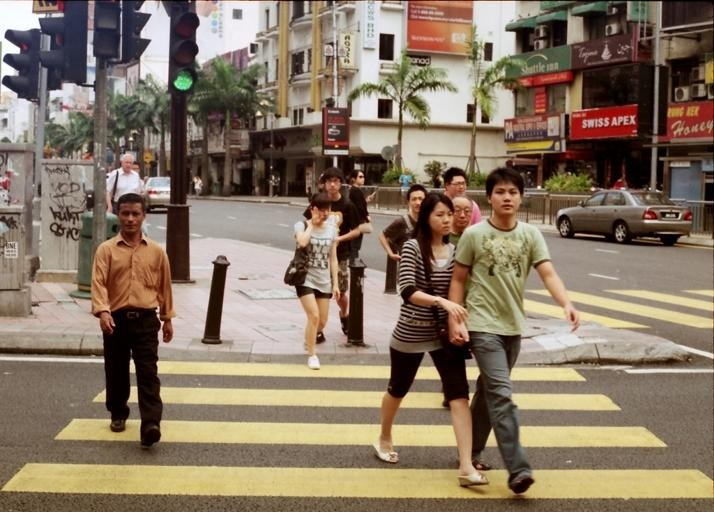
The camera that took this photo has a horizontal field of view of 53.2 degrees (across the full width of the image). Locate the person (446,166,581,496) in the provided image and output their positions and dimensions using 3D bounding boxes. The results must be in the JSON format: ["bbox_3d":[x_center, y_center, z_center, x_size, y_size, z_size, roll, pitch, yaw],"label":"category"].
[{"bbox_3d":[1.167,0.542,5.556,0.822,2.423,0.731,7,9,37],"label":"person"}]

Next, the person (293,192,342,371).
[{"bbox_3d":[-0.518,0.283,8.683,0.450,2.063,0.678,3,7,10],"label":"person"}]

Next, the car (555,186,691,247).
[{"bbox_3d":[8.851,-1.365,23.989,1.689,1.412,3.837,-1,7,-23],"label":"car"}]

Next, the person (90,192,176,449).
[{"bbox_3d":[-1.971,0.691,6.241,0.684,1.844,0.811,0,7,-13],"label":"person"}]

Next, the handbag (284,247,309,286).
[{"bbox_3d":[-0.727,0.140,8.619,0.296,0.537,0.416,1,7,-5],"label":"handbag"}]

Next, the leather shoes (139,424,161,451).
[{"bbox_3d":[-1.772,1.533,6.094,0.163,0.213,0.236,-1,8,-19],"label":"leather shoes"}]

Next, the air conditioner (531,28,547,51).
[{"bbox_3d":[11.540,-13.632,44.699,0.375,1.471,0.985,-2,8,-28],"label":"air conditioner"}]

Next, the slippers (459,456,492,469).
[{"bbox_3d":[0.966,1.679,5.715,0.221,0.065,0.090,-1,2,21],"label":"slippers"}]

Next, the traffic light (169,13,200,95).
[{"bbox_3d":[-2.746,-3.286,11.288,0.463,1.361,1.112,0,8,-14],"label":"traffic light"}]

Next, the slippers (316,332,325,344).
[{"bbox_3d":[-0.495,1.132,9.755,0.077,0.096,0.215,0,-8,6],"label":"slippers"}]

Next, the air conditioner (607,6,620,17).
[{"bbox_3d":[14.352,-13.709,39.767,0.788,0.604,0.450,8,47,19],"label":"air conditioner"}]

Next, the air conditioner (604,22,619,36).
[{"bbox_3d":[14.207,-12.550,39.484,0.318,0.771,0.832,-4,9,-37],"label":"air conditioner"}]

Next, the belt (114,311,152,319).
[{"bbox_3d":[-1.988,0.523,6.345,0.335,0.085,0.074,-2,8,-24],"label":"belt"}]

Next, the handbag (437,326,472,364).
[{"bbox_3d":[0.752,0.694,5.561,0.254,0.239,0.205,2,17,1],"label":"handbag"}]

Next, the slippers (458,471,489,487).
[{"bbox_3d":[0.892,1.701,5.428,0.190,0.082,0.109,-4,3,5],"label":"slippers"}]

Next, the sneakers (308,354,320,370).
[{"bbox_3d":[-0.518,1.275,8.537,0.135,0.143,0.173,1,7,-4],"label":"sneakers"}]

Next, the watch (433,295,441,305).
[{"bbox_3d":[0.614,0.350,5.434,0.039,0.057,0.055,5,11,12],"label":"watch"}]
